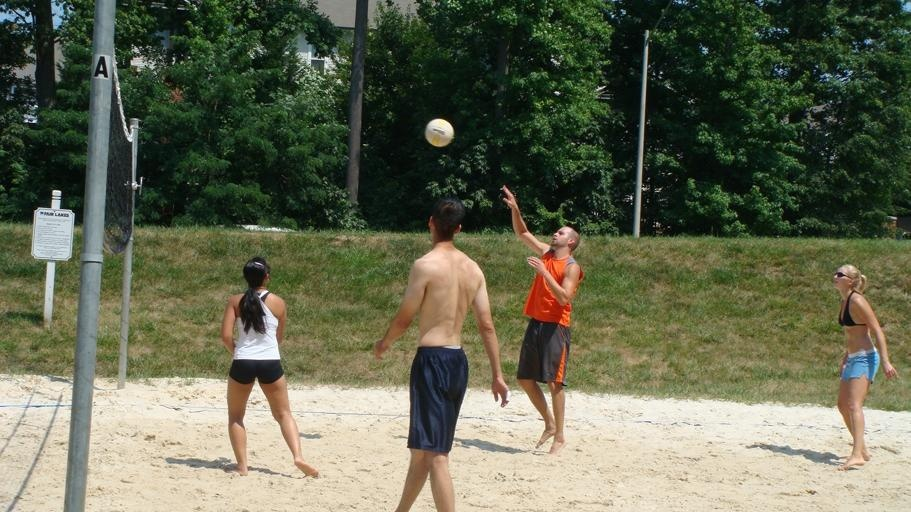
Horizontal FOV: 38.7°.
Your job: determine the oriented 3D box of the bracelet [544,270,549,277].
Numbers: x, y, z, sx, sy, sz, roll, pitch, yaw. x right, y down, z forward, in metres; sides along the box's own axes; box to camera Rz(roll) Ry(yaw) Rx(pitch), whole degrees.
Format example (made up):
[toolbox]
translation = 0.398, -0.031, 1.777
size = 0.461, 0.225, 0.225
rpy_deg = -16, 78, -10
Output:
[bracelet]
translation = 2.956, 0.546, 42.182
size = 0.130, 0.207, 0.398
rpy_deg = 4, 4, 24
